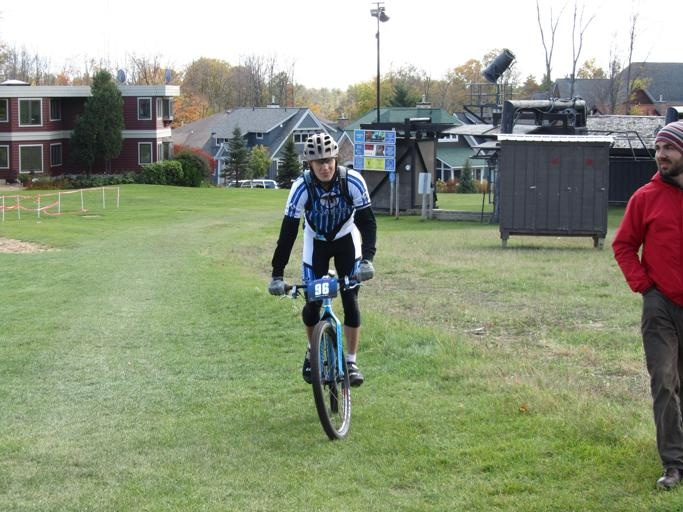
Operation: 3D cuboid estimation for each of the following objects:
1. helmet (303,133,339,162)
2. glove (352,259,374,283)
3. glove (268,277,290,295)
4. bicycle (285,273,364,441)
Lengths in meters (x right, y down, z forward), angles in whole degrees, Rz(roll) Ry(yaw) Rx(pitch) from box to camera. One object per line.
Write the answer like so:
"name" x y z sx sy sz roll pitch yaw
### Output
"helmet" -0.216 -1.112 9.423 0.326 0.296 0.292 -2 12 -2
"glove" 0.220 0.156 9.545 0.205 0.218 0.328 -1 12 1
"glove" -0.658 0.331 9.519 0.205 0.205 0.230 -5 12 -15
"bicycle" -0.173 1.013 9.595 0.645 1.635 1.103 2 12 16
